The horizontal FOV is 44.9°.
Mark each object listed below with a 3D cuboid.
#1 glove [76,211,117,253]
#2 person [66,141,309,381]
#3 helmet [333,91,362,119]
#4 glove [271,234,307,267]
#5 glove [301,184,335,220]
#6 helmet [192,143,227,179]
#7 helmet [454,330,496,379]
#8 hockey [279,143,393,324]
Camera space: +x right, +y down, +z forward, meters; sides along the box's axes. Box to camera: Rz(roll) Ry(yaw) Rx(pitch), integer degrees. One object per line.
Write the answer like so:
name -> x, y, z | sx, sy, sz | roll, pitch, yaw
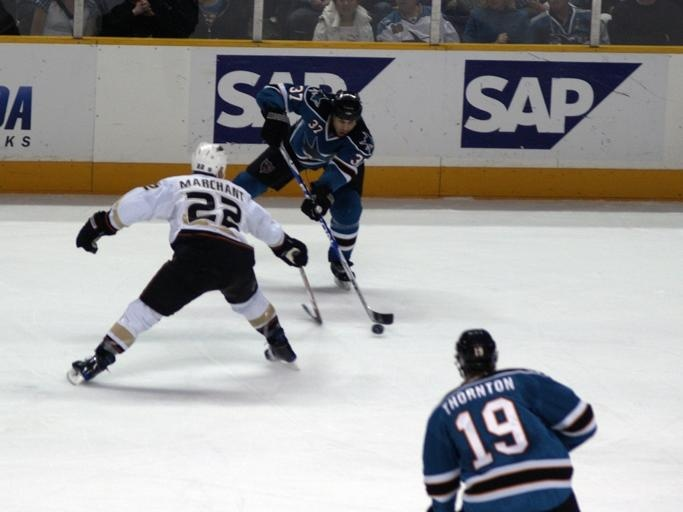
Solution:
glove -> -1.281, -0.137, 4.290 | 0.251, 0.107, 0.200 | -40, 45, 14
person -> -0.750, 0.002, 4.262 | 1.344, 1.174, 0.561 | 0, 1, -36
helmet -> 0.037, -0.905, 5.014 | 0.150, 0.166, 0.185 | 4, 30, -5
glove -> -0.272, -0.017, 4.468 | 0.120, 0.222, 0.076 | -33, 38, 43
glove -> -0.145, -0.325, 5.080 | 0.231, 0.165, 0.089 | -45, -3, -6
helmet -> -0.688, -0.500, 4.295 | 0.160, 0.177, 0.198 | 12, 15, 13
helmet -> 0.476, 0.369, 3.030 | 0.182, 0.199, 0.228 | 0, -12, 0
hockey -> -0.069, -0.091, 4.974 | 0.496, 1.254, 0.068 | -42, -22, 30
